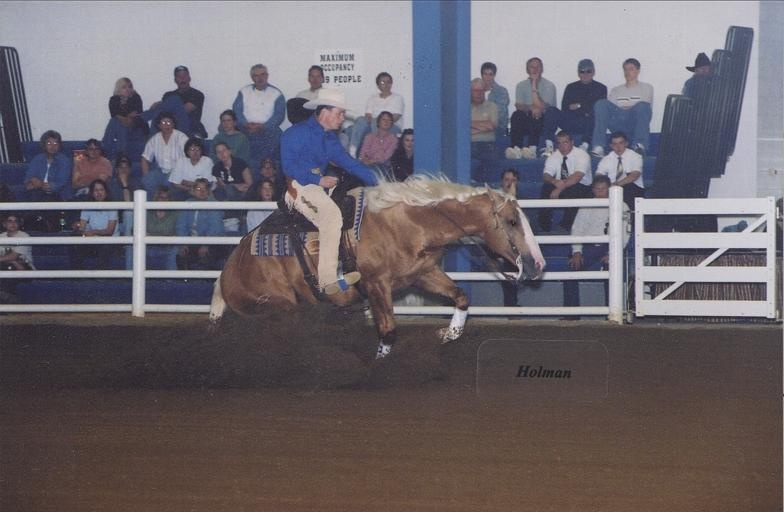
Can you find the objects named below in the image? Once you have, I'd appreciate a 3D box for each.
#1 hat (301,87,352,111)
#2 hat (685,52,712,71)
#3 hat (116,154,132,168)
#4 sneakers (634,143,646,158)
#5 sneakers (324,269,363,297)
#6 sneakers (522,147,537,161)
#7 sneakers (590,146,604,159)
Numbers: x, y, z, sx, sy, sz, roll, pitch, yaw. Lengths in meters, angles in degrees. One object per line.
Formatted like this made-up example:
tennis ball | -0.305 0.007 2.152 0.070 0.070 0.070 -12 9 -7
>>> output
hat | -0.606 -1.422 15.704 0.333 0.127 0.300 -1 2 20
hat | 3.068 -1.946 17.418 0.235 0.216 0.186 1 13 9
hat | -2.740 -0.959 17.704 0.106 0.130 0.135 -7 -4 -26
sneakers | 2.547 -1.079 17.777 0.101 0.161 0.162 -13 -13 4
sneakers | -0.443 0.263 15.564 0.321 0.114 0.173 -33 4 10
sneakers | 1.428 -1.054 18.018 0.140 0.091 0.115 -6 12 13
sneakers | 2.119 -1.075 17.884 0.105 0.089 0.156 2 2 19
